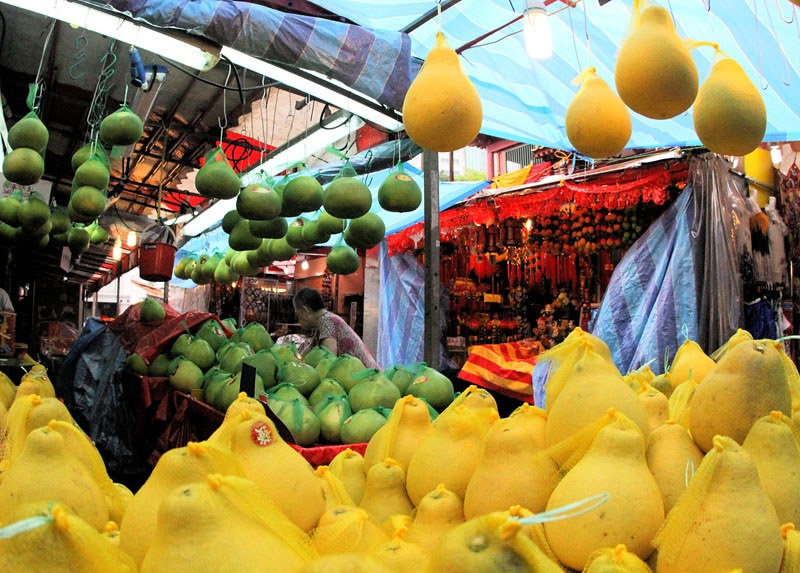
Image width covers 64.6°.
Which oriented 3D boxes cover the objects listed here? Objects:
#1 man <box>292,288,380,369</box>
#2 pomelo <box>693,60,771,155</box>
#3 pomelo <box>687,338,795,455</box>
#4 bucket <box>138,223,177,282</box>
[{"bbox_3d":[-0.533,0.448,5.494,0.933,0.426,0.652,27,9,28],"label":"man"},{"bbox_3d":[1.431,-0.787,2.730,0.316,0.424,0.210,9,-6,-26],"label":"pomelo"},{"bbox_3d":[1.003,0.339,1.857,0.189,0.274,0.191,27,-1,11],"label":"pomelo"},{"bbox_3d":[-2.656,-0.345,6.984,0.447,0.704,0.417,-1,-21,0],"label":"bucket"}]
